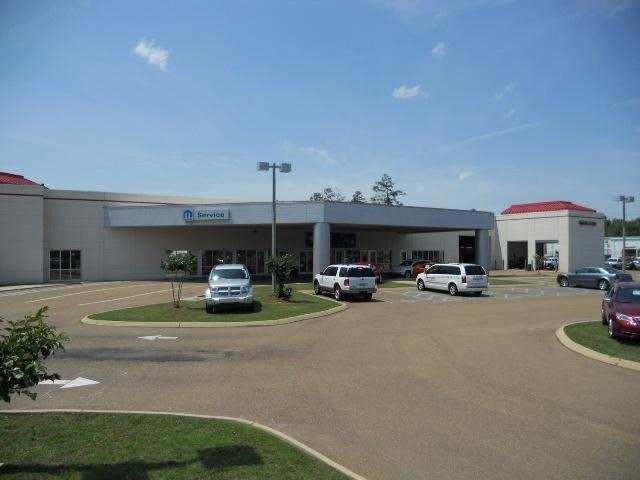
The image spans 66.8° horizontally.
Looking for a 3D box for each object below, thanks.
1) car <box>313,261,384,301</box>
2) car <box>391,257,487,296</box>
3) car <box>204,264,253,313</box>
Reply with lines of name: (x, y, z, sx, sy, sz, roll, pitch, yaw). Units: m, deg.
car: (1.285, 2.192, 26.176, 1.591, 1.328, 3.271, 2, 1, -25)
car: (7.527, 2.256, 28.827, 1.395, 1.984, 5.004, -2, 4, -28)
car: (-3.904, 2.024, 21.026, 1.290, 1.337, 2.742, -1, -10, -6)
